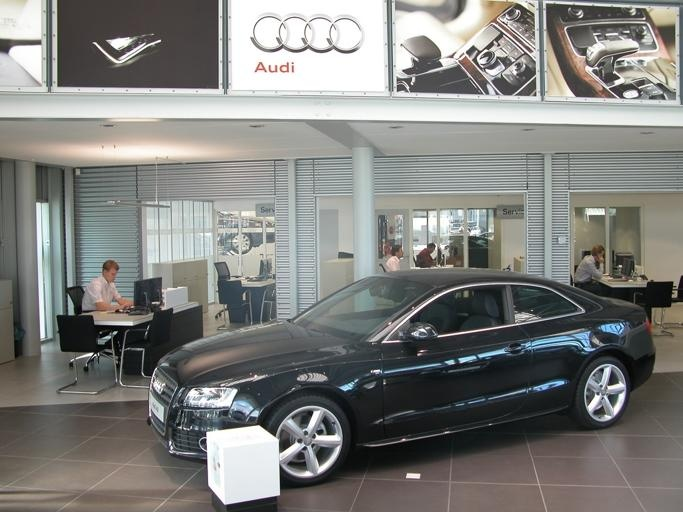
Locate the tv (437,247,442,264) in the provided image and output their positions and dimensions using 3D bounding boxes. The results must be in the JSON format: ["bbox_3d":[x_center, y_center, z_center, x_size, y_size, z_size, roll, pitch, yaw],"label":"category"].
[{"bbox_3d":[3.330,-0.046,16.983,0.254,0.563,0.121,-10,12,-43],"label":"tv"}]

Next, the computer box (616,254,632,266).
[{"bbox_3d":[7.039,0.079,12.477,0.252,0.416,0.231,3,15,20],"label":"computer box"}]

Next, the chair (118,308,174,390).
[{"bbox_3d":[-3.222,1.453,7.886,0.614,0.980,0.600,-1,-18,-25],"label":"chair"}]

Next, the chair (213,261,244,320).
[{"bbox_3d":[-2.860,0.904,13.438,1.005,1.407,0.927,7,7,12],"label":"chair"}]

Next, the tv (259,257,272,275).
[{"bbox_3d":[-2.175,0.293,14.324,0.189,0.495,0.524,2,3,28],"label":"tv"}]

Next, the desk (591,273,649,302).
[{"bbox_3d":[6.140,0.701,11.018,0.604,0.267,1.184,-2,4,0],"label":"desk"}]

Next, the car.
[{"bbox_3d":[0.803,0.955,5.254,4.761,1.418,2.077,-1,-1,-23],"label":"car"}]

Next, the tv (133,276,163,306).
[{"bbox_3d":[-3.407,0.627,8.815,0.215,0.396,0.589,3,3,27],"label":"tv"}]

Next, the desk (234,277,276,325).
[{"bbox_3d":[-2.331,1.072,12.860,1.036,1.266,1.372,0,4,7],"label":"desk"}]

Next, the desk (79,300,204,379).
[{"bbox_3d":[-3.204,1.310,8.845,0.855,0.661,1.500,-12,1,39],"label":"desk"}]
